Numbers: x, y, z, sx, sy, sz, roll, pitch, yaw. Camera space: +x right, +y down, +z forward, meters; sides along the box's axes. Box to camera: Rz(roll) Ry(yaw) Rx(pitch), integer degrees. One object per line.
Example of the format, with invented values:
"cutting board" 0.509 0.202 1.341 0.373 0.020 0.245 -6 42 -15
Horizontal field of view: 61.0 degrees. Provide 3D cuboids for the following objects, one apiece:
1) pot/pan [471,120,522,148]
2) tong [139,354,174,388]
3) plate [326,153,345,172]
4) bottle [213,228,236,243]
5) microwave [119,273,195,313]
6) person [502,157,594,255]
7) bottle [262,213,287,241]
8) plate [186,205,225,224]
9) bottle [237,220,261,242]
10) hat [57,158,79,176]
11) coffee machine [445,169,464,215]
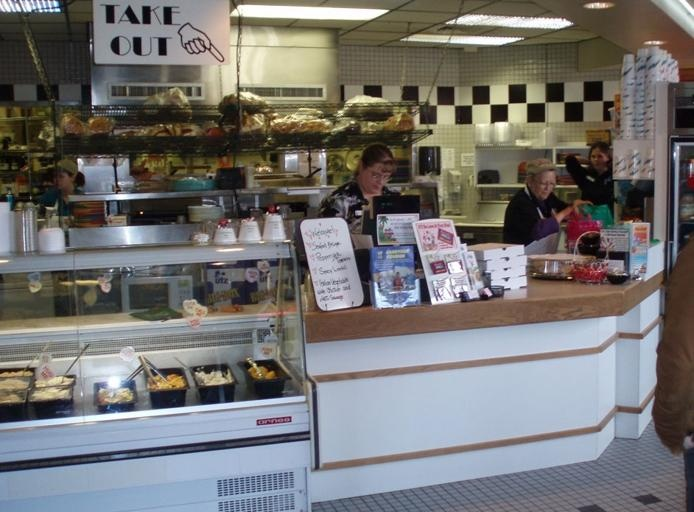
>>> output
"pot/pan" 2.055 -1.691 8.146 0.470 0.236 0.432 2 8 23
"tong" -0.875 0.528 2.711 0.141 0.044 0.102 38 29 28
"plate" -0.126 -1.069 6.744 0.239 0.175 0.051 4 2 -9
"bottle" -0.591 -0.102 2.864 0.094 0.075 0.111 -8 13 -32
"microwave" -0.881 0.160 2.738 0.358 0.178 0.181 -1 1 -11
"person" 1.574 -0.453 4.826 0.533 0.665 0.644 3 12 23
"bottle" -0.381 -0.144 2.934 0.159 0.116 0.117 -1 4 -8
"plate" -1.265 -0.381 5.281 0.304 0.140 0.386 -4 10 -14
"bottle" -0.455 -0.127 2.897 0.124 0.094 0.113 1 2 16
"hat" -2.485 -0.791 5.159 0.181 0.133 0.129 24 18 13
"coffee machine" 1.556 -0.957 8.603 0.255 0.627 0.211 0 12 7
